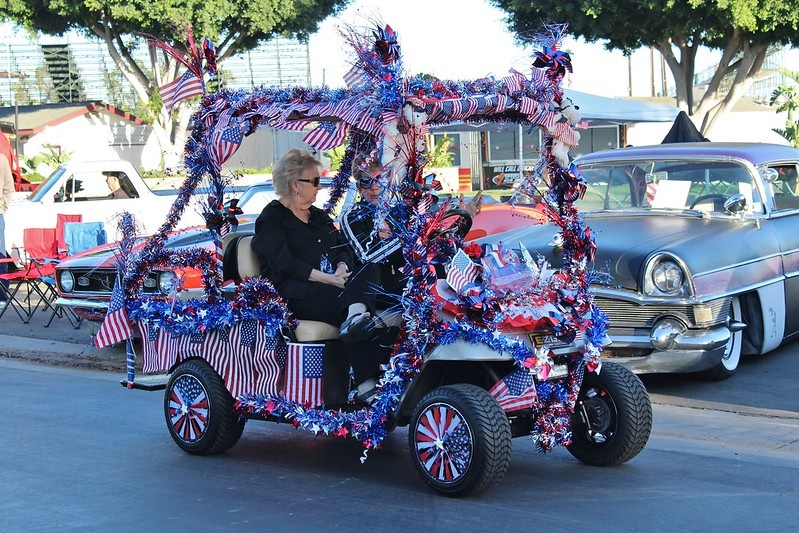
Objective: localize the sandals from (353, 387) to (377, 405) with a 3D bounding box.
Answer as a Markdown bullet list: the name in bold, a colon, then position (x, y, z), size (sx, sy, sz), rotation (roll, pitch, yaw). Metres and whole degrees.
- **sandals**: position (-0.298, 1.071, 8.815), size (0.173, 0.072, 0.128), rotation (-34, -2, 6)

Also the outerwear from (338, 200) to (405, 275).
- **outerwear**: position (-0.248, -0.204, 9.239), size (0.515, 0.665, 0.235), rotation (-16, 16, 44)

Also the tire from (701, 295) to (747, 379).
- **tire**: position (3.267, 0.691, 10.894), size (0.316, 0.840, 0.884), rotation (2, 4, 27)

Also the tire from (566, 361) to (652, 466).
- **tire**: position (1.696, 1.228, 8.838), size (0.369, 0.844, 0.876), rotation (-7, 0, -45)

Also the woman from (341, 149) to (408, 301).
- **woman**: position (-0.252, -0.357, 9.432), size (0.862, 1.100, 0.460), rotation (-4, -9, 31)

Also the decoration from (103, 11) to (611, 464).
- **decoration**: position (-0.269, -0.179, 9.053), size (3.889, 3.653, 1.584), rotation (5, 14, 26)

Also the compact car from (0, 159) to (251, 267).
- **compact car**: position (-4.452, -1.141, 19.407), size (4.947, 1.545, 2.329), rotation (0, 2, -12)

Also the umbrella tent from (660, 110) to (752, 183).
- **umbrella tent**: position (3.644, -1.443, 12.838), size (1.351, 0.661, 1.879), rotation (0, 8, 18)

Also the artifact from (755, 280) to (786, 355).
- **artifact**: position (4.002, 0.515, 11.494), size (0.174, 0.664, 0.686), rotation (-10, 6, -3)

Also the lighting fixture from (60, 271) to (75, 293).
- **lighting fixture**: position (-4.080, 0.167, 13.189), size (0.183, 0.240, 0.093), rotation (-3, -5, 36)

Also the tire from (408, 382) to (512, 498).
- **tire**: position (0.475, 1.343, 8.353), size (0.910, 0.865, 0.359), rotation (-6, -3, 31)

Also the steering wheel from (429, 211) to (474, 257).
- **steering wheel**: position (0.420, -0.311, 8.615), size (0.199, 0.324, 0.622), rotation (3, 12, 19)

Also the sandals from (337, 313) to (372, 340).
- **sandals**: position (-0.350, 0.487, 8.710), size (0.280, 0.213, 0.273), rotation (-2, 12, -4)
